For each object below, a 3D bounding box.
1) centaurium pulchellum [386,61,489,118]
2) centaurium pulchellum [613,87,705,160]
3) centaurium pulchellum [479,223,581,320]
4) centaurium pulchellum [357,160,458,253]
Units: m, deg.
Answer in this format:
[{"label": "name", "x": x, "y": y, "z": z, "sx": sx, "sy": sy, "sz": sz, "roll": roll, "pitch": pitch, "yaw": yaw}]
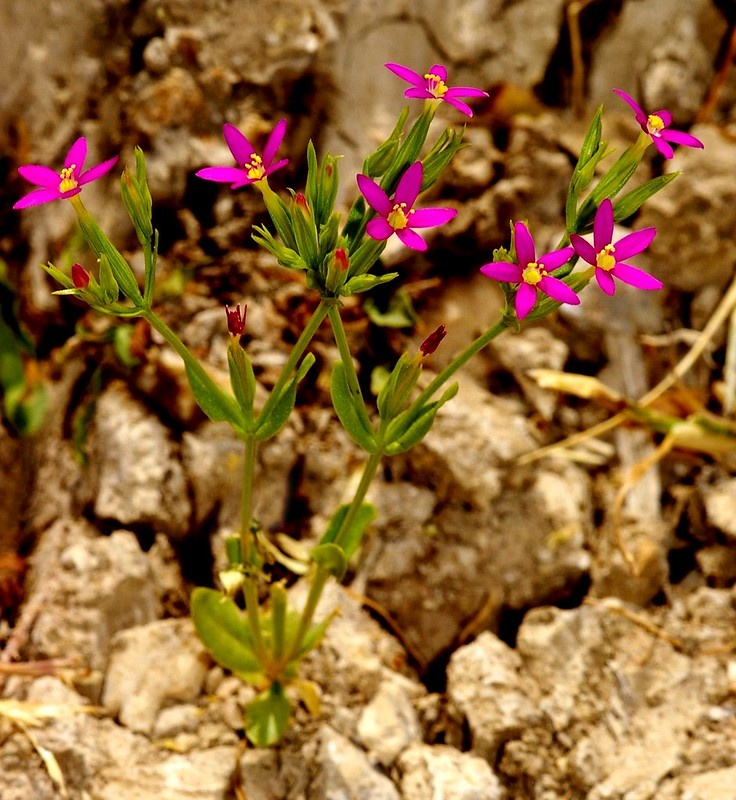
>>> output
[{"label": "centaurium pulchellum", "x": 0.133, "y": -0.640, "z": 2.422, "sx": 0.230, "sy": 0.240, "sz": 0.069, "roll": 21, "pitch": 115, "yaw": 9}, {"label": "centaurium pulchellum", "x": 0.583, "y": -0.582, "z": 2.445, "sx": 0.058, "sy": 0.260, "sz": 0.205, "roll": -44, "pitch": 90, "yaw": 7}, {"label": "centaurium pulchellum", "x": 0.318, "y": -0.253, "z": 2.284, "sx": 0.181, "sy": 0.103, "sz": 0.172, "roll": 2, "pitch": 59, "yaw": 3}, {"label": "centaurium pulchellum", "x": 0.079, "y": -0.371, "z": 2.303, "sx": 0.224, "sy": 0.081, "sz": 0.175, "roll": 8, "pitch": 88, "yaw": 33}]
